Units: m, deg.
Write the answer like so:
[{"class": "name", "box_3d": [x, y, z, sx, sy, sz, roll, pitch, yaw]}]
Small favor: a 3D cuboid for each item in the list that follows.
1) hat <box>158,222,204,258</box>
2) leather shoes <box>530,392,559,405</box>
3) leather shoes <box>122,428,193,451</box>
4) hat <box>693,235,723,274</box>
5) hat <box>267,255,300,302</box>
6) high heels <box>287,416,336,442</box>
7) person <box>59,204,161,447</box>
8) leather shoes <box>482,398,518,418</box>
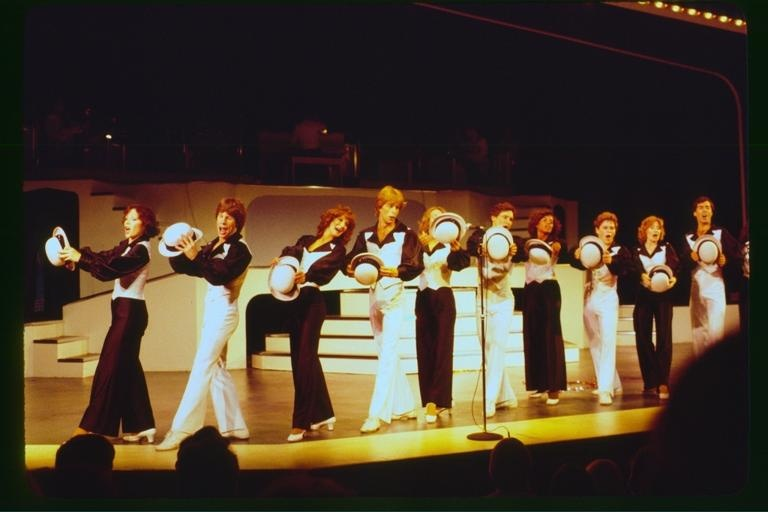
[{"class": "hat", "box_3d": [-1.709, -0.122, 6.063, 0.271, 0.310, 0.094, 33, -22, 16]}, {"class": "leather shoes", "box_3d": [1.443, 1.278, 6.557, 0.189, 0.062, 0.115, 9, 23, 31]}, {"class": "leather shoes", "box_3d": [-1.953, 1.529, 6.159, 0.597, 0.260, 0.214, 5, -11, 1]}, {"class": "hat", "box_3d": [2.946, -0.021, 6.634, 0.254, 0.275, 0.092, 18, 11, 3]}, {"class": "hat", "box_3d": [-0.833, 0.197, 6.019, 0.253, 0.339, 0.119, -1, 2, 9]}, {"class": "high heels", "box_3d": [-0.603, 1.452, 6.133, 0.426, 0.185, 0.161, -3, -6, -14]}, {"class": "person", "box_3d": [-2.255, 0.560, 6.107, 0.721, 1.960, 0.274, 0, -9, 7]}, {"class": "leather shoes", "box_3d": [1.016, 1.331, 6.383, 0.343, 0.157, 0.118, 9, -13, -31]}]
